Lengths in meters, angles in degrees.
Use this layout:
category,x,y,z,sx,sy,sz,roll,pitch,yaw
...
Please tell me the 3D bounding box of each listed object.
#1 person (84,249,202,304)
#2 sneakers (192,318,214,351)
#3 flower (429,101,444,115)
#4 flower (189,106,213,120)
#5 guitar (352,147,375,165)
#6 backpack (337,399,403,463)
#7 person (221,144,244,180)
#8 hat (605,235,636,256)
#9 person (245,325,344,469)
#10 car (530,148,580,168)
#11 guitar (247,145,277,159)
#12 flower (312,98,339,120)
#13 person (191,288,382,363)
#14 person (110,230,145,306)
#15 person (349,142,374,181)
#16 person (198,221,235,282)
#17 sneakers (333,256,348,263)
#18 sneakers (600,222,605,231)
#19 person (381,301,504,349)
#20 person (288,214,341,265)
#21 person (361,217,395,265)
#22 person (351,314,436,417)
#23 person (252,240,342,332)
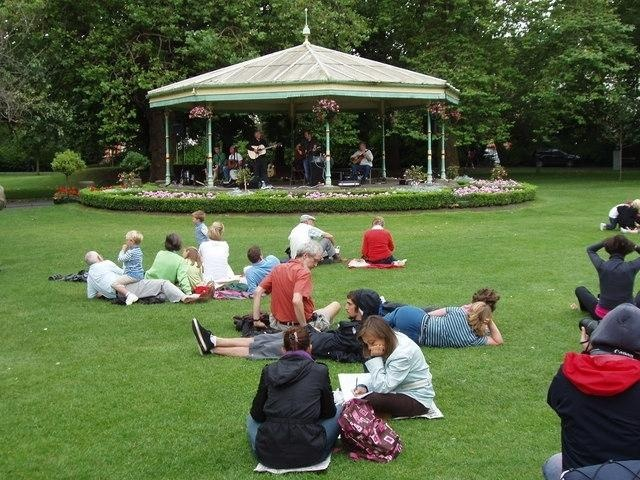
category,x,y,z,sx,sy,sz,roll,pitch,yaw
person,-3.044,0.579,9.937,1.806,0.715,0.889,1,-2,3
sneakers,-1.556,1.259,7.880,0.262,0.211,0.612,2,17,-24
flower,5.052,-5.700,25.346,0.527,0.354,0.507,2,3,4
flower,-4.993,-5.215,24.400,0.812,0.528,1.104,-3,4,-20
guitar,1.928,-3.645,26.132,0.516,0.999,0.256,45,15,20
backpack,0.474,1.872,5.722,0.595,0.494,0.252,37,-25,7
person,-3.833,-3.350,26.389,0.885,1.796,0.420,-4,-14,30
hat,3.978,0.096,7.845,0.290,0.269,0.296,-1,-11,11
person,-0.261,1.491,5.648,0.877,1.257,0.392,-2,2,0
car,17.185,-6.024,43.164,3.177,1.403,1.501,0,6,11
guitar,-2.561,-3.623,24.204,0.781,0.543,0.424,0,2,27
flower,0.245,-5.278,23.348,0.897,0.807,0.915,0,-1,-1
person,-0.319,1.179,7.964,2.563,0.898,1.563,-4,2,5
person,-3.217,0.440,9.873,0.514,1.188,0.601,-2,2,-19
person,1.873,-3.369,26.123,0.928,1.893,0.485,11,16,25
person,-1.890,0.226,10.787,0.662,1.116,0.747,-2,2,-10
sneakers,0.459,0.407,12.735,0.321,0.214,0.128,-2,2,-9
sneakers,7.569,-0.372,15.764,0.073,0.178,0.106,-1,6,-41
person,1.651,1.104,7.929,1.163,0.464,0.781,-4,12,-8
person,-0.124,-0.046,11.865,1.211,0.972,0.754,-6,3,-26
person,1.192,-0.022,12.376,0.705,0.948,0.857,-1,0,13
person,0.800,1.475,6.453,0.837,1.241,0.652,-1,8,-4
person,-0.402,0.547,8.497,1.020,1.275,1.227,11,16,32
